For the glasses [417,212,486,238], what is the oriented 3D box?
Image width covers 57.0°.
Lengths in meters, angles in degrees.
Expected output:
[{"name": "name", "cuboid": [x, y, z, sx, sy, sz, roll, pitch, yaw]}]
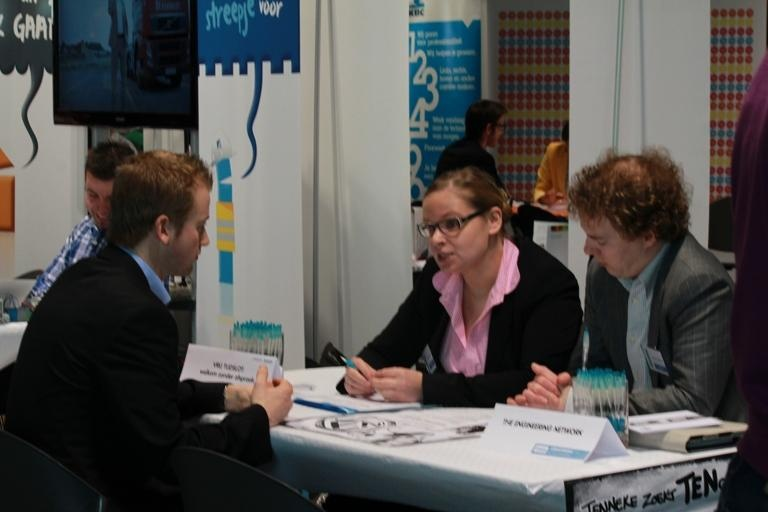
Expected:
[{"name": "glasses", "cuboid": [0.245, -0.117, 2.596, 0.228, 0.079, 0.075, -1, 13, 12]}]

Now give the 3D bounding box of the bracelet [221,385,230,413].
[{"name": "bracelet", "cuboid": [-0.511, 0.457, 2.279, 0.013, 0.060, 0.056, 0, -1, 15]}]
